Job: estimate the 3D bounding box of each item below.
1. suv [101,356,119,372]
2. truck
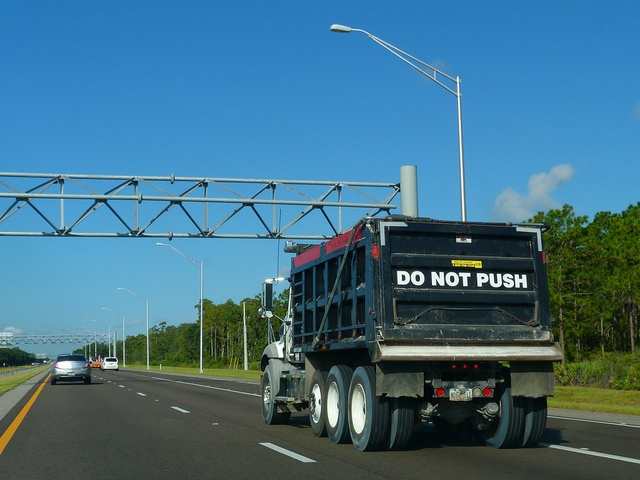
[{"bbox_3d":[-21.477,12.759,74.197,1.176,1.056,2.237,1,0,-17],"label":"suv"},{"bbox_3d":[1.519,2.033,15.833,3.264,3.630,6.294,5,-9,-18],"label":"truck"}]
